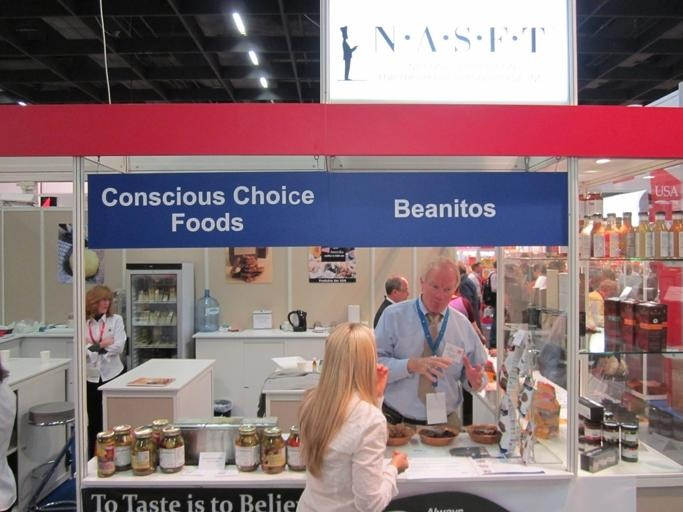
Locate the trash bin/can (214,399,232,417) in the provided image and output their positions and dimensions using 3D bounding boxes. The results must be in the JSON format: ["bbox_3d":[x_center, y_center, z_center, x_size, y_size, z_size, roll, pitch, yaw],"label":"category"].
[{"bbox_3d":[-1.442,1.789,7.776,0.243,0.220,0.259,2,7,-2],"label":"trash bin/can"}]

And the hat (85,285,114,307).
[{"bbox_3d":[-2.632,0.430,7.044,0.182,0.241,0.249,-3,0,3],"label":"hat"}]

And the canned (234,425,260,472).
[{"bbox_3d":[-0.637,1.284,4.352,0.166,0.277,0.160,-4,3,-39],"label":"canned"}]

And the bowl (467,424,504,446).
[{"bbox_3d":[0.995,1.241,4.549,0.224,0.111,0.154,2,-5,11],"label":"bowl"}]

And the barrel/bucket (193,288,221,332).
[{"bbox_3d":[-1.778,0.690,8.548,0.303,0.563,0.317,0,7,0],"label":"barrel/bucket"}]

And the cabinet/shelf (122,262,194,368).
[{"bbox_3d":[-2.377,0.822,8.264,0.752,1.404,0.472,-1,-3,-19],"label":"cabinet/shelf"}]

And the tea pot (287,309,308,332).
[{"bbox_3d":[-0.566,0.815,8.277,0.285,0.306,0.187,-1,2,6],"label":"tea pot"}]

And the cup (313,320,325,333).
[{"bbox_3d":[-0.295,0.900,8.262,0.095,0.139,0.140,0,-5,3],"label":"cup"}]

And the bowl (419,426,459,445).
[{"bbox_3d":[0.664,1.246,4.509,0.260,0.114,0.140,2,-5,9],"label":"bowl"}]

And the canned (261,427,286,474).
[{"bbox_3d":[-0.464,1.288,4.340,0.166,0.280,0.164,-1,-1,29],"label":"canned"}]

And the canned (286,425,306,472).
[{"bbox_3d":[-0.294,1.286,4.360,0.150,0.260,0.151,-5,-4,42],"label":"canned"}]

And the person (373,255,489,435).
[{"bbox_3d":[0.635,0.894,4.780,0.852,1.676,0.807,5,7,14],"label":"person"}]
